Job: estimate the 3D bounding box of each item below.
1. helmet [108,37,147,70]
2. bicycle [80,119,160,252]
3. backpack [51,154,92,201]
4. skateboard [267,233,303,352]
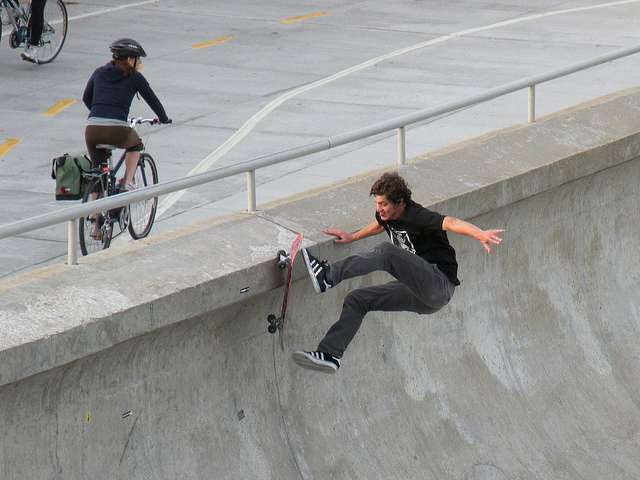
[{"bbox_3d":[-2.197,-2.097,14.437,0.392,0.304,0.299,12,15,-13],"label":"helmet"},{"bbox_3d":[-2.514,-0.540,14.721,0.784,0.998,1.679,9,23,18],"label":"bicycle"},{"bbox_3d":[-2.792,-0.679,14.261,0.363,0.472,0.501,5,4,10],"label":"backpack"},{"bbox_3d":[-0.363,0.498,12.147,0.171,1.110,0.257,3,-7,31],"label":"skateboard"}]
